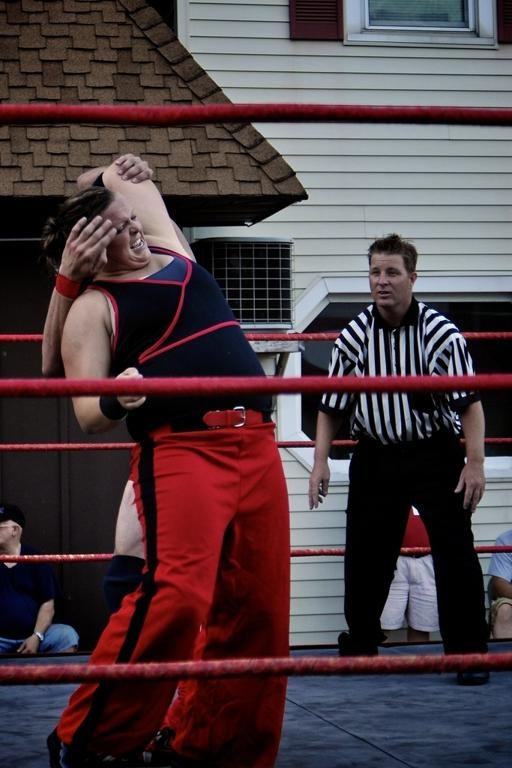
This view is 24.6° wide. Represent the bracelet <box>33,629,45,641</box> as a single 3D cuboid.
[{"bbox_3d":[-0.927,1.061,4.984,0.049,0.017,0.036,9,-15,35],"label":"bracelet"}]

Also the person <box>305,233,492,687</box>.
[{"bbox_3d":[0.427,0.212,3.675,0.592,1.399,0.365,-1,-4,22],"label":"person"}]

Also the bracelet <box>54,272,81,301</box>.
[{"bbox_3d":[-0.441,-0.218,2.641,0.061,0.042,0.060,13,8,20],"label":"bracelet"}]

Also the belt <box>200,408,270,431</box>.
[{"bbox_3d":[-0.037,0.080,2.655,0.056,0.049,0.203,-3,-4,35],"label":"belt"}]

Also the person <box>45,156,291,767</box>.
[{"bbox_3d":[-0.260,0.151,2.663,0.506,1.471,0.652,-4,-5,42],"label":"person"}]

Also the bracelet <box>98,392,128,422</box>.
[{"bbox_3d":[-0.311,0.048,2.474,0.065,0.057,0.060,16,-3,-35],"label":"bracelet"}]
